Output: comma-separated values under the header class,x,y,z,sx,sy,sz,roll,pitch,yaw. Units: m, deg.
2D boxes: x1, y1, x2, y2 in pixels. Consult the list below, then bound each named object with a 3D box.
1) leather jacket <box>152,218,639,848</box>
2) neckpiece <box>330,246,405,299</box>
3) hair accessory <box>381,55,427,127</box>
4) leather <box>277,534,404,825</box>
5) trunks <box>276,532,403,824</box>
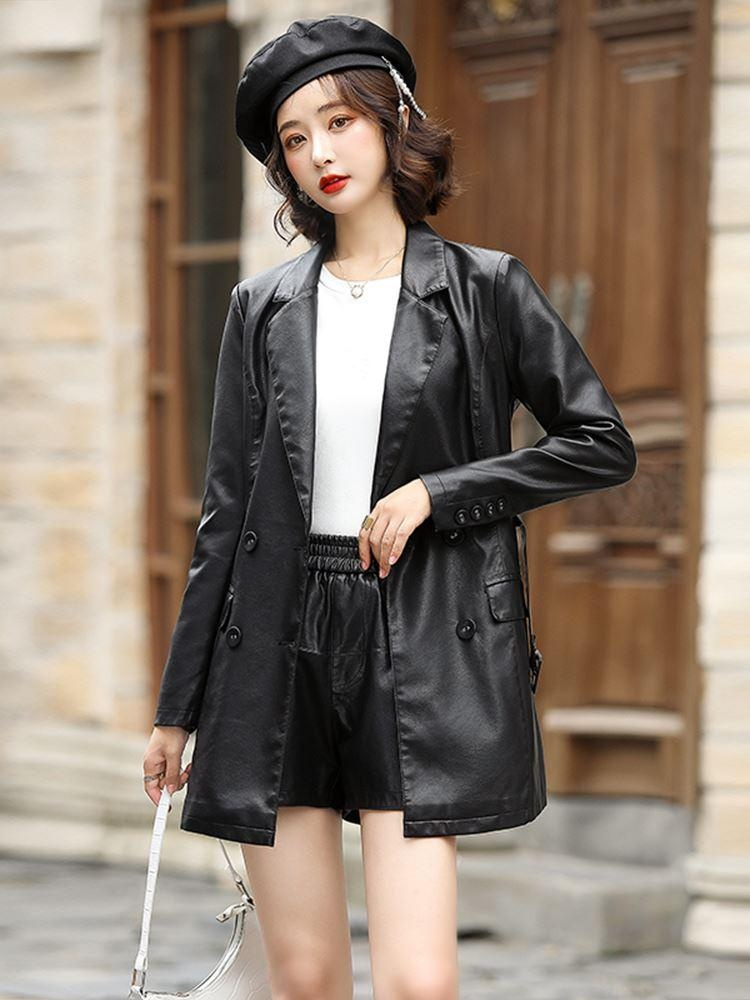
class,x,y,z,sx,sy,sz,roll,pitch,yaw
leather jacket,0.013,0.042,1.885,0.737,0.922,0.297,2,-1,25
neckpiece,-0.014,-0.386,1.978,0.153,0.087,0.047,-8,-21,22
hair accessory,0.052,-0.688,1.979,0.033,0.097,0.078,-31,-22,2
leather,-0.041,0.271,1.806,0.266,0.384,0.131,-1,9,14
trunks,-0.036,0.272,1.819,0.265,0.384,0.130,-1,8,17
